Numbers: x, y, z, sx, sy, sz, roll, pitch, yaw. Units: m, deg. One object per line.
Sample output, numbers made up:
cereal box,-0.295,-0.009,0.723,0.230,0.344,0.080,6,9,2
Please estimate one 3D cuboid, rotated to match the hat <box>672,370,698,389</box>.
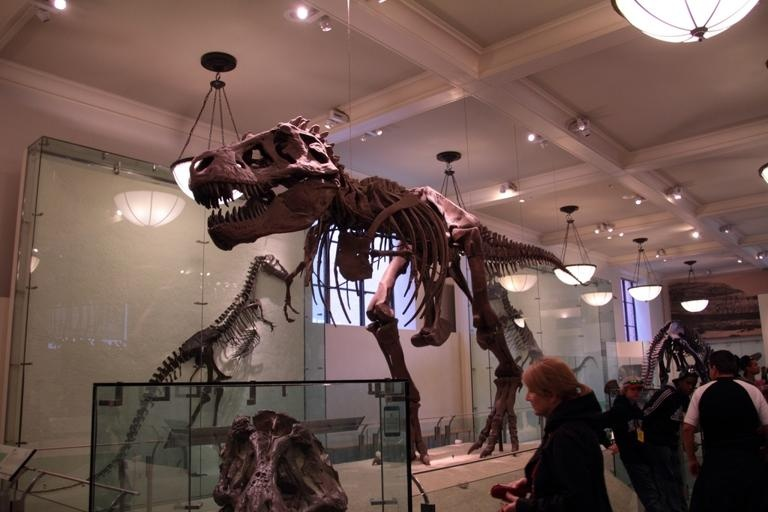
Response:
hat,3.779,1.556,6.982,0.260,0.289,0.347,7,-20,24
